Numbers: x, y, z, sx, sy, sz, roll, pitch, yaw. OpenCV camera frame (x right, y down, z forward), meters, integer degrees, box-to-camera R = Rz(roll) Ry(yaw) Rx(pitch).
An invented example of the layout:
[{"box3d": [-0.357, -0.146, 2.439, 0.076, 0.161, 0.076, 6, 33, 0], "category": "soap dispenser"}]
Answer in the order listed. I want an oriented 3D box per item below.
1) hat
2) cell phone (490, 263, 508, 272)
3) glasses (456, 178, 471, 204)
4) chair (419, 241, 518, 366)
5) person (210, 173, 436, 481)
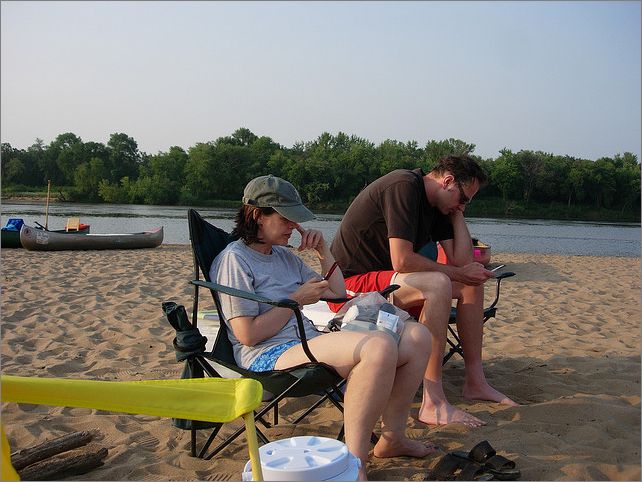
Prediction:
[{"box3d": [-0.255, -0.262, 3.326, 0.452, 0.244, 0.309, 8, 8, 21], "category": "hat"}, {"box3d": [3.059, 0.445, 9.780, 0.316, 0.056, 0.076, -35, 5, 24], "category": "cell phone"}, {"box3d": [0.996, -0.348, 4.006, 0.043, 0.154, 0.143, -9, -9, 23], "category": "glasses"}, {"box3d": [1.159, 0.531, 4.716, 0.820, 1.208, 0.886, -1, -1, 18], "category": "chair"}, {"box3d": [-0.028, 0.432, 3.229, 1.191, 1.558, 0.826, 9, 12, 40], "category": "person"}]
